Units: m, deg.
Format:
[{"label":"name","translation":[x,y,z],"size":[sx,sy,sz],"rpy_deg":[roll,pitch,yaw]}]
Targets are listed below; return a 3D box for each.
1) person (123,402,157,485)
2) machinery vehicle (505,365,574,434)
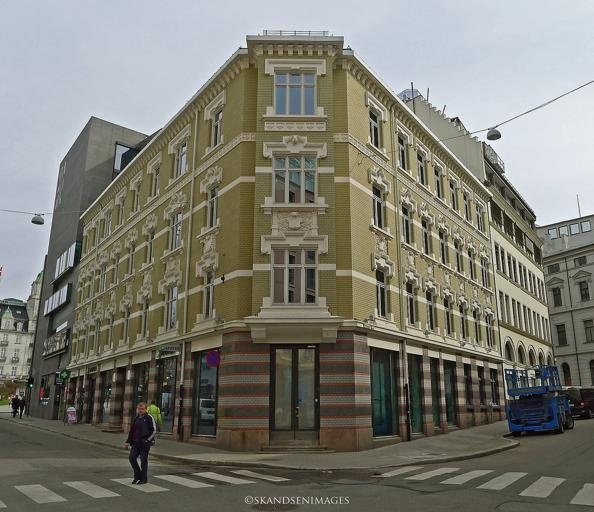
[{"label":"person","translation":[-3.649,4.399,11.648],"size":[0.586,1.785,1.329],"rpy_deg":[4,-19,-15]},{"label":"machinery vehicle","translation":[12.245,7.392,25.279],"size":[2.454,2.877,4.700],"rpy_deg":[-17,-21,32]}]
